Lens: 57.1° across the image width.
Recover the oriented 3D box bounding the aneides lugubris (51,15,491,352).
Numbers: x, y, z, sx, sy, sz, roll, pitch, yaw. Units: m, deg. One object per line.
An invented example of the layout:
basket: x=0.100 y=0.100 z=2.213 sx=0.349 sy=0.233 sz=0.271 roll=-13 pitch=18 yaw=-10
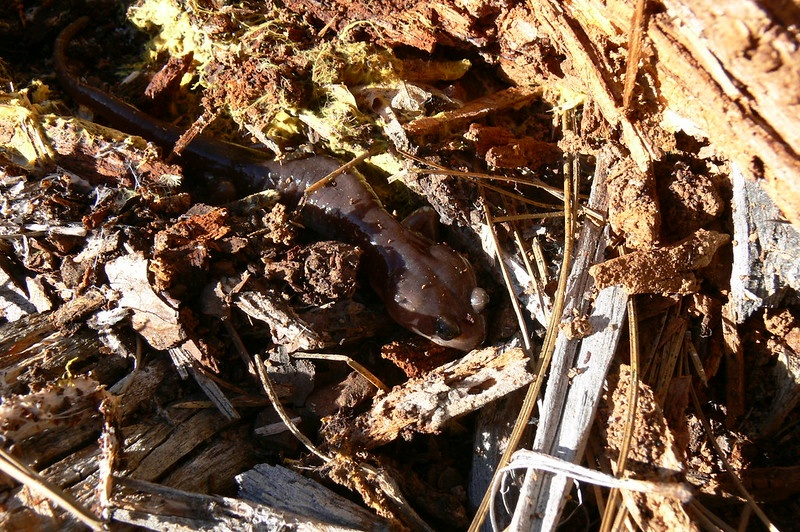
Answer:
aneides lugubris: x=-0.752 y=-0.499 z=4.887 sx=3.037 sy=0.841 sz=0.358 roll=40 pitch=-5 yaw=10
